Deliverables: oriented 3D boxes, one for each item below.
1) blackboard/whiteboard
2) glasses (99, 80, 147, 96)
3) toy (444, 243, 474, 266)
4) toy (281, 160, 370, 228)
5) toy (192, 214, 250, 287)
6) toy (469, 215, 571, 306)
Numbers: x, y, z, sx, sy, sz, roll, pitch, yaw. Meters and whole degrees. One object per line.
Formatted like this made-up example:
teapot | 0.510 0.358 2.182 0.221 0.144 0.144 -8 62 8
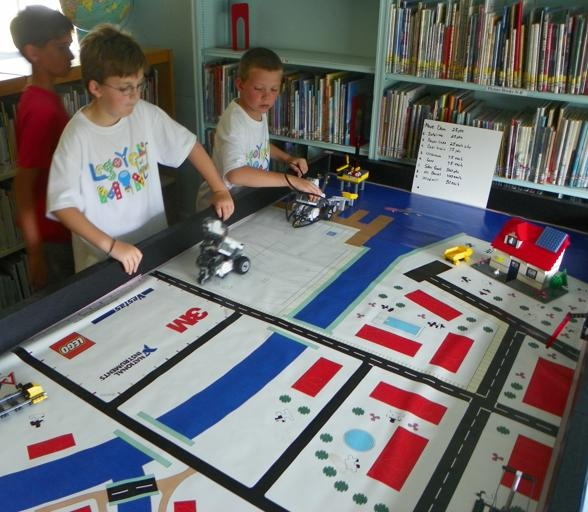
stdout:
blackboard/whiteboard | 0.714 -0.406 1.857 0.352 0.341 0.025 19 6 28
glasses | -0.480 -0.499 1.224 0.072 0.022 0.073 19 31 33
toy | 0.551 -0.018 1.445 0.093 0.043 0.059 -25 37 -26
toy | 0.126 -0.217 1.748 0.219 0.188 0.428 25 50 29
toy | -0.209 -0.009 1.239 0.092 0.153 0.193 -6 25 31
toy | 0.709 -0.007 1.317 0.179 0.187 0.255 -17 29 -34
